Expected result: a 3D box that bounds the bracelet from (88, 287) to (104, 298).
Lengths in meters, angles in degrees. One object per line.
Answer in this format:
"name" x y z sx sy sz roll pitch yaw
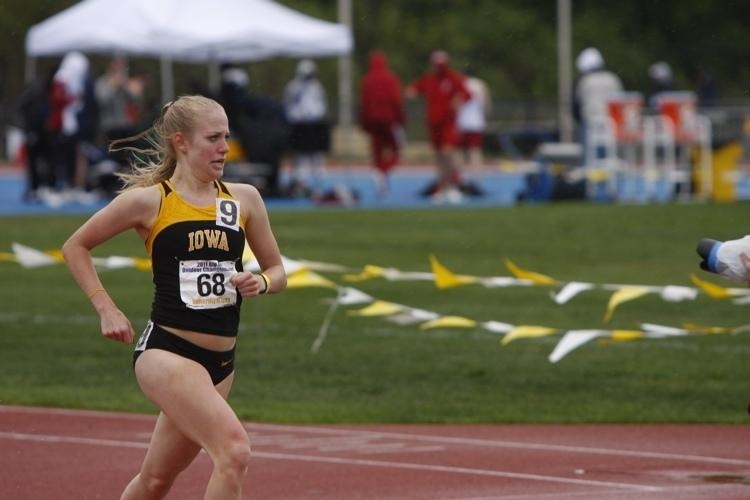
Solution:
"bracelet" -2.177 0.324 10.667 0.092 0.031 0.091 -31 15 -14
